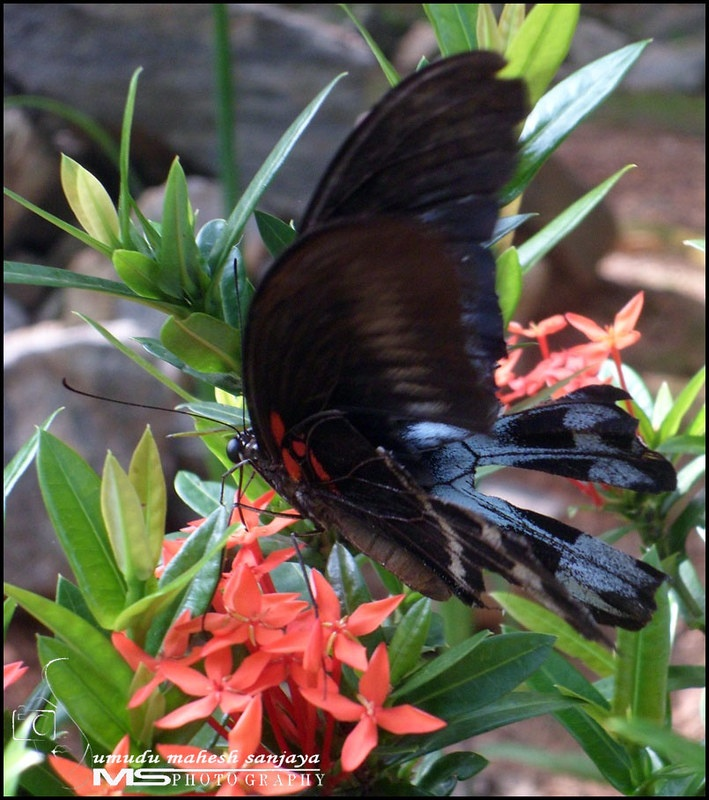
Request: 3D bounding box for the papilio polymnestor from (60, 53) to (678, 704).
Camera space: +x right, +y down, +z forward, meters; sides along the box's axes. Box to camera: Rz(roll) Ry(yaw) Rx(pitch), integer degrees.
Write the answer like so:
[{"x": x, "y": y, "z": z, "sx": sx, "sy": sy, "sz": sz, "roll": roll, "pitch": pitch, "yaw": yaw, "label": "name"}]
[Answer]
[{"x": 0.218, "y": -0.038, "z": 1.444, "sx": 0.669, "sy": 0.631, "sz": 0.522, "roll": 33, "pitch": 66, "yaw": 20, "label": "papilio polymnestor"}]
